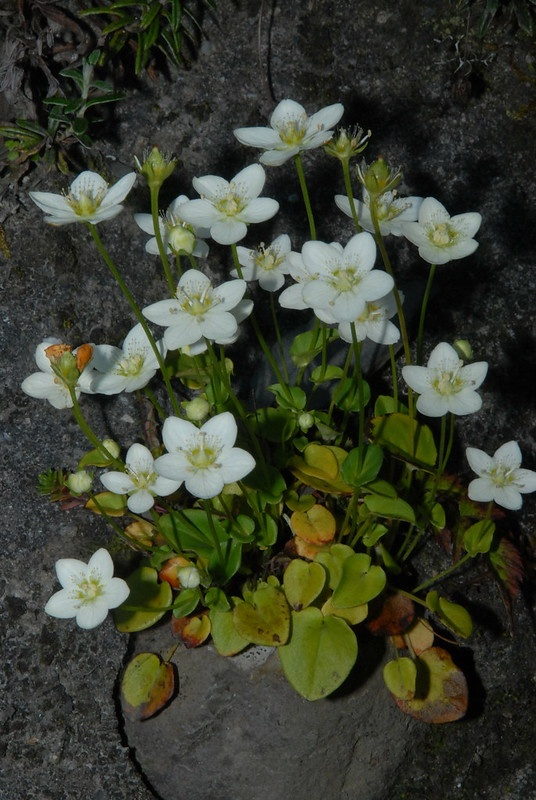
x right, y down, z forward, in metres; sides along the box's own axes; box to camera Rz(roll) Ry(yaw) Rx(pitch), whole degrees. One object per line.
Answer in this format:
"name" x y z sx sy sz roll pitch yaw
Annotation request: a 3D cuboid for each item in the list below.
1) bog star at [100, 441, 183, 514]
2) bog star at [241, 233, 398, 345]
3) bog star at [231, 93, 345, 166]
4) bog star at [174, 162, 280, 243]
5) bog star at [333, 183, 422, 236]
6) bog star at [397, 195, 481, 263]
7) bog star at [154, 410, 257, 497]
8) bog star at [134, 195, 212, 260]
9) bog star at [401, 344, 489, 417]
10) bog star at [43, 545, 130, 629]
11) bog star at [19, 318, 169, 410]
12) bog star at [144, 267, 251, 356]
"bog star" -0.310 0.210 1.753 0.150 0.188 0.072 14 100 24
"bog star" 0.108 -0.326 1.812 0.476 0.259 0.160 24 27 18
"bog star" 0.065 -0.697 1.804 0.236 0.088 0.246 19 61 27
"bog star" -0.091 -0.495 1.772 0.225 0.097 0.241 40 74 18
"bog star" 0.324 -0.521 1.931 0.200 0.084 0.205 -6 24 -21
"bog star" 0.472 -0.445 1.862 0.213 0.239 0.102 9 79 -25
"bog star" -0.149 0.114 1.610 0.172 0.254 0.077 -32 28 -2
"bog star" -0.216 -0.405 1.771 0.156 0.166 0.073 -23 89 -46
"bog star" 0.441 -0.048 1.752 0.197 0.064 0.196 12 69 7
"bog star" -0.432 0.465 1.694 0.213 0.077 0.207 -36 62 13
"bog star" -0.441 -0.078 1.845 0.307 0.091 0.239 -28 82 -18
"bog star" -0.179 -0.221 1.730 0.244 0.081 0.209 0 68 3
